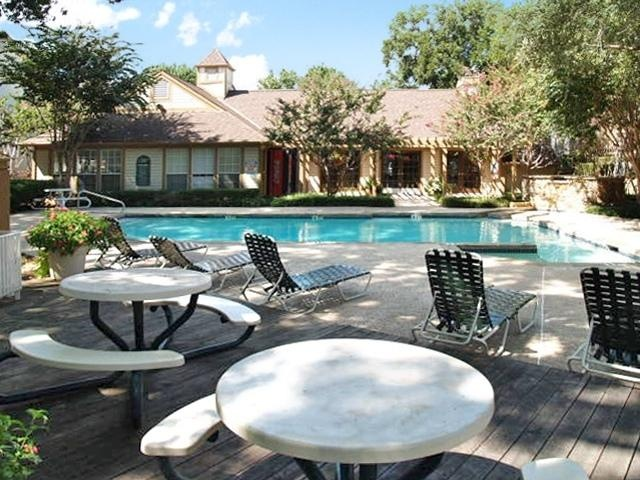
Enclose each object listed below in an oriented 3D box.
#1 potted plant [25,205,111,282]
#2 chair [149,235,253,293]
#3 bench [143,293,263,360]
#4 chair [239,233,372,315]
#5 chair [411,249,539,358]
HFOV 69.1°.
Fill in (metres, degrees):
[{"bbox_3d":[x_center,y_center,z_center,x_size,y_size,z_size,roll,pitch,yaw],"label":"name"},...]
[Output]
[{"bbox_3d":[-4.194,0.085,7.624,1.141,1.009,1.279,3,5,41],"label":"potted plant"},{"bbox_3d":[-1.697,0.321,7.662,1.727,0.702,0.887,-5,9,-36],"label":"chair"},{"bbox_3d":[-1.036,0.742,4.556,0.829,0.255,0.827,-2,8,-42],"label":"bench"},{"bbox_3d":[-0.115,0.427,6.732,1.861,0.922,1.139,-4,6,-37],"label":"chair"},{"bbox_3d":[1.636,0.599,5.107,0.841,1.130,1.334,1,9,37],"label":"chair"}]
